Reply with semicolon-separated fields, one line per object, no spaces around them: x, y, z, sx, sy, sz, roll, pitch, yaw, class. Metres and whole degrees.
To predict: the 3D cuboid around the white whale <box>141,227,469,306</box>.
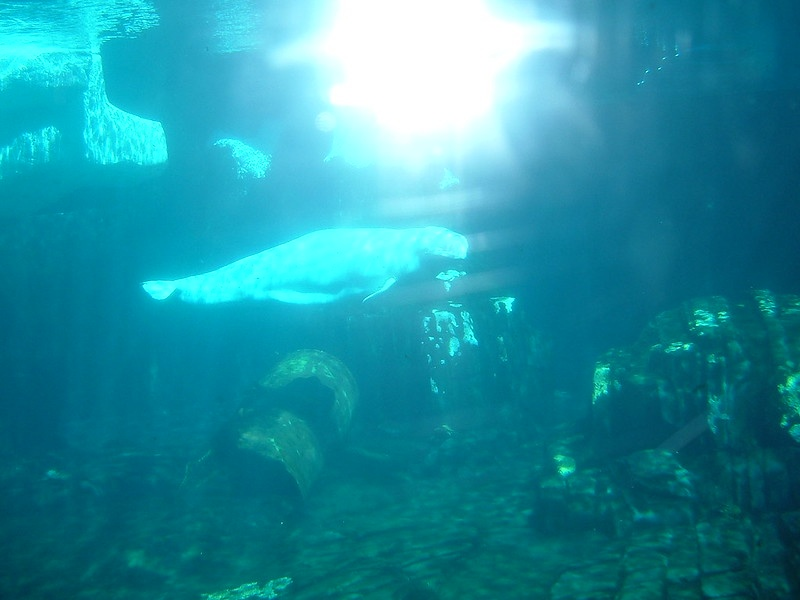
-2.498;-0.876;24.691;9.127;2.707;2.403;0;-76;-2;white whale
